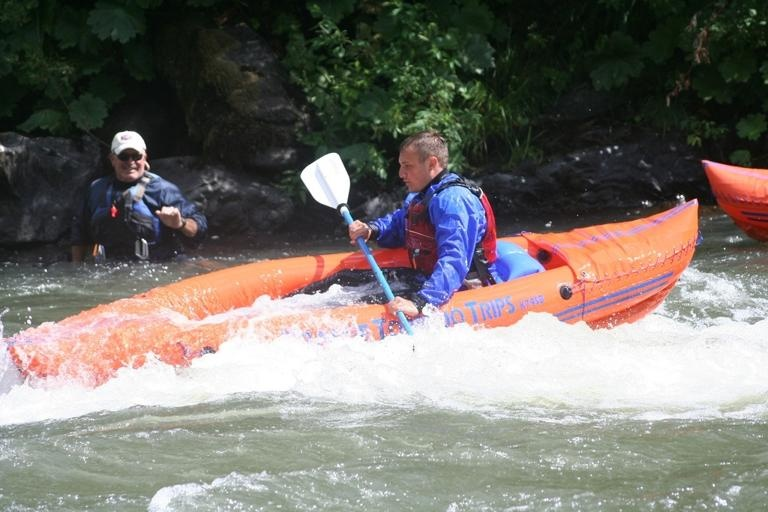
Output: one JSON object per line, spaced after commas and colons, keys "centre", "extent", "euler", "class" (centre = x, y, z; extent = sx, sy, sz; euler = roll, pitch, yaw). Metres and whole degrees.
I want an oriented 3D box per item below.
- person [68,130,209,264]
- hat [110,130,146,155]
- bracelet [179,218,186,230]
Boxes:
{"centre": [-2.699, -0.602, 9.895], "extent": [1.339, 1.768, 0.916], "euler": [7, 26, 3], "class": "person"}
{"centre": [-2.585, -1.135, 9.144], "extent": [0.264, 0.193, 0.357], "euler": [0, -10, -18], "class": "hat"}
{"centre": [-1.964, -0.320, 8.868], "extent": [0.033, 0.087, 0.064], "euler": [6, -2, -1], "class": "bracelet"}
